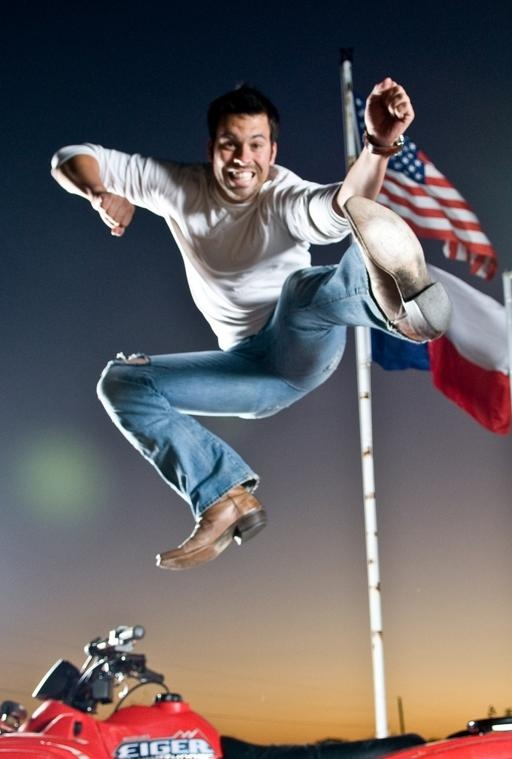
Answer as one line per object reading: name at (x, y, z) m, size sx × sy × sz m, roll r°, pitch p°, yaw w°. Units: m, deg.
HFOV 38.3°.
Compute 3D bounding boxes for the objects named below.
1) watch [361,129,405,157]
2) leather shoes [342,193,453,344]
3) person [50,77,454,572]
watch at (0.406, -0.737, 2.343) m, size 0.114 × 0.102 × 0.037 m, roll -13°, pitch -38°, yaw -16°
leather shoes at (0.380, -0.287, 2.046) m, size 0.244 × 0.435 × 0.184 m, roll -28°, pitch -5°, yaw -37°
person at (0.013, -0.297, 2.526) m, size 0.812 × 1.827 × 1.328 m, roll 13°, pitch -20°, yaw -42°
